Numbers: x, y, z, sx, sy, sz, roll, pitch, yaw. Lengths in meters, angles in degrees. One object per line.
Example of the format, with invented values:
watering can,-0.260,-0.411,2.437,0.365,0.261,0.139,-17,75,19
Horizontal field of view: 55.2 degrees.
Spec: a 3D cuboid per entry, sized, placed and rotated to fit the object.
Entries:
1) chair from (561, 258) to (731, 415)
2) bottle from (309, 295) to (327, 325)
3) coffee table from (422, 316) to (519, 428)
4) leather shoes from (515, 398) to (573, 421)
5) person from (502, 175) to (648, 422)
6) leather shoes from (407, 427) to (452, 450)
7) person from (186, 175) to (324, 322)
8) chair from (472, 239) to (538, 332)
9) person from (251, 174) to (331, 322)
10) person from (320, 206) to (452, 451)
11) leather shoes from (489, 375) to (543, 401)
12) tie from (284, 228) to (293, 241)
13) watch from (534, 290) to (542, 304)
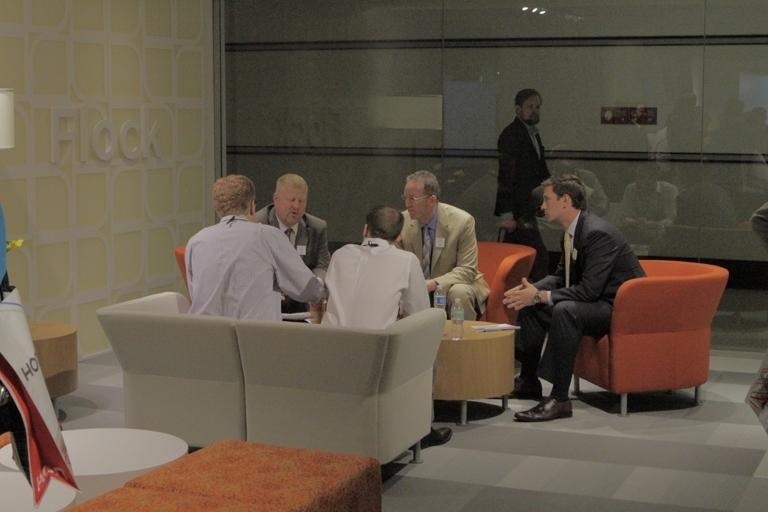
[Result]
chair,2.194,0.589,5.848,1.048,1.042,1.002,-6,7,-35
bottle,-0.452,0.375,5.037,0.149,0.193,0.164,0,2,0
coffee table,0.634,0.870,5.583,1.039,0.631,1.106,-2,4,21
leather shoes,1.215,1.149,5.535,0.432,0.193,0.170,0,-3,-11
person,1.464,0.273,5.935,1.102,1.831,0.969,-1,6,-21
leather shoes,0.326,1.238,5.068,0.284,0.131,0.098,-23,29,-32
person,-0.896,0.156,4.898,0.837,1.301,0.786,-2,-10,9
chair,1.056,0.269,6.614,0.601,0.702,0.653,-2,8,-16
person,-0.781,0.170,6.069,0.683,1.699,0.897,1,9,-14
person,0.061,0.479,4.969,0.972,1.620,0.933,2,3,-9
leather shoes,1.065,1.061,5.896,0.374,0.181,0.170,2,-3,-2
tie,-0.794,-0.173,6.132,0.092,0.106,0.030,2,-1,-19
watch,1.189,0.333,5.719,0.058,0.101,0.083,2,2,33
